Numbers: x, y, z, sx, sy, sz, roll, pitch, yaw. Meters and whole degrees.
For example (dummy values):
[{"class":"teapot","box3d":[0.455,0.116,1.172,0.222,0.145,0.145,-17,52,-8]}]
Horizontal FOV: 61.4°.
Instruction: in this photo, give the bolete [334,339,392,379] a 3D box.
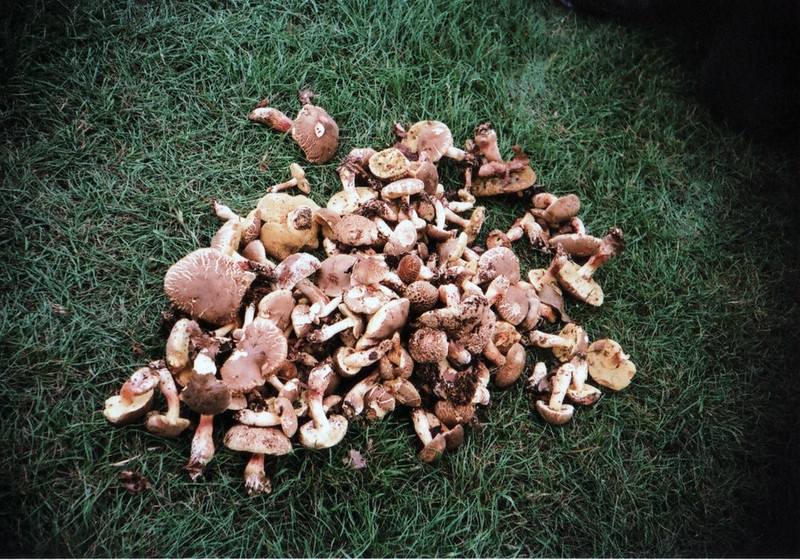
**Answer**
[{"class":"bolete","box3d":[-0.394,0.854,7.504,0.665,0.175,0.321,-11,81,-6]}]

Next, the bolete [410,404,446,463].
[{"class":"bolete","box3d":[0.304,1.746,7.661,0.401,0.286,0.553,-23,83,21]}]

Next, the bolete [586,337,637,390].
[{"class":"bolete","box3d":[2.543,1.042,8.129,0.462,0.282,0.685,-40,85,-10]}]

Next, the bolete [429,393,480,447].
[{"class":"bolete","box3d":[0.619,1.582,7.633,0.429,0.219,0.554,8,92,3]}]

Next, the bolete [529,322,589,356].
[{"class":"bolete","box3d":[1.921,0.717,8.089,0.549,0.233,0.412,8,42,-7]}]

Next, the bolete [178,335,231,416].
[{"class":"bolete","box3d":[-2.108,1.060,7.263,0.559,0.201,0.728,0,86,14]}]
